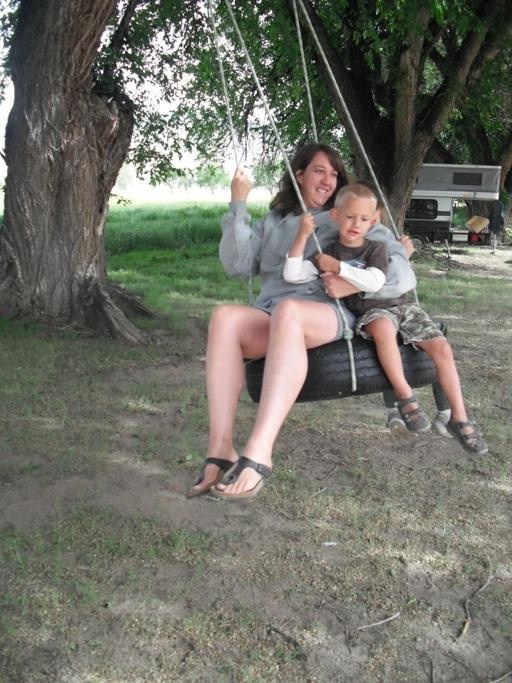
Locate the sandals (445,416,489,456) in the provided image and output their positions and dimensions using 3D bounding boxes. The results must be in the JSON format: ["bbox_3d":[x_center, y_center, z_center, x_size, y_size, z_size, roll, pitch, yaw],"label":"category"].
[{"bbox_3d":[0.933,0.397,2.565,0.094,0.105,0.271,-22,20,-7],"label":"sandals"}]

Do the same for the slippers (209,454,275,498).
[{"bbox_3d":[-0.051,0.463,1.926,0.099,0.085,0.245,2,6,22],"label":"slippers"}]

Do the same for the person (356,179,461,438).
[{"bbox_3d":[0.641,-0.147,2.516,0.399,1.096,0.328,-19,-16,5],"label":"person"}]

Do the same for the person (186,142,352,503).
[{"bbox_3d":[0.110,-0.060,2.471,0.586,1.612,1.451,3,14,6],"label":"person"}]

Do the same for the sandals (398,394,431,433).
[{"bbox_3d":[0.649,0.307,2.425,0.081,0.084,0.219,-27,5,0],"label":"sandals"}]
